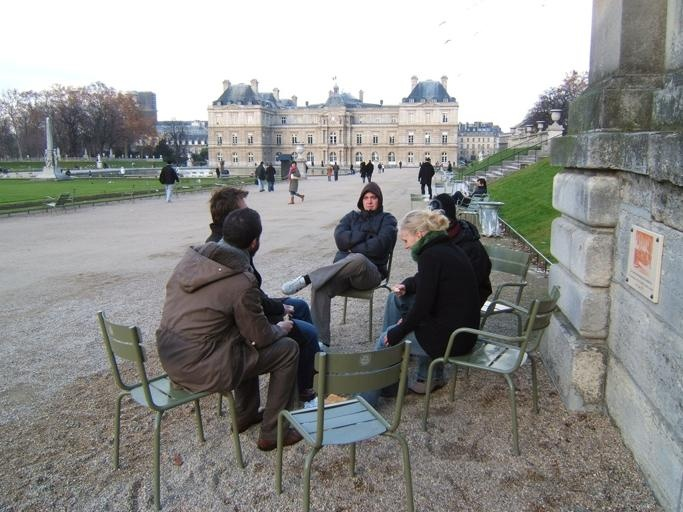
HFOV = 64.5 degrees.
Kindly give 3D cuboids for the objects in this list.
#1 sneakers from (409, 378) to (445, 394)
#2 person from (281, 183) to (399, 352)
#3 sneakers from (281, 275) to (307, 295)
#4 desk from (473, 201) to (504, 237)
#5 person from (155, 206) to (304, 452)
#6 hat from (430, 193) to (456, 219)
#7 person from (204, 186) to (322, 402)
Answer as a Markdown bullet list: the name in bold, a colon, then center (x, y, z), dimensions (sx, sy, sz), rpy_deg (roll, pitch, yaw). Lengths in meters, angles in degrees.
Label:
- **sneakers**: center (0.817, 1.247, 5.239), dimensions (0.311, 0.165, 0.167), rpy_deg (4, 2, -9)
- **person**: center (0.045, 0.022, 6.725), dimensions (1.364, 2.385, 0.832), rpy_deg (10, -5, -44)
- **sneakers**: center (-0.624, 0.375, 7.002), dimensions (0.333, 0.145, 0.126), rpy_deg (-37, -13, -27)
- **desk**: center (3.586, -0.952, 13.253), dimensions (0.698, 0.861, 0.771), rpy_deg (2, 12, 19)
- **person**: center (-0.887, 0.663, 4.493), dimensions (0.754, 2.123, 1.161), rpy_deg (13, 17, 41)
- **hat**: center (1.107, -0.578, 6.016), dimensions (0.232, 0.326, 0.289), rpy_deg (5, 14, 17)
- **person**: center (-0.842, 0.665, 5.289), dimensions (1.282, 2.590, 0.786), rpy_deg (-13, 26, -42)
